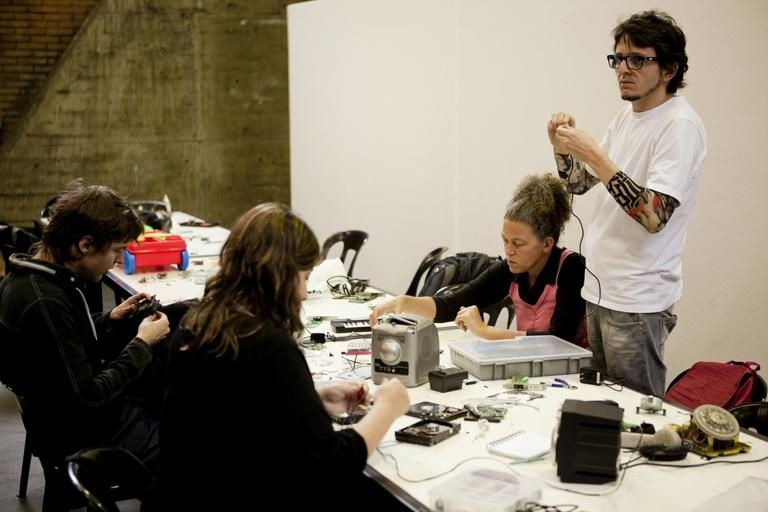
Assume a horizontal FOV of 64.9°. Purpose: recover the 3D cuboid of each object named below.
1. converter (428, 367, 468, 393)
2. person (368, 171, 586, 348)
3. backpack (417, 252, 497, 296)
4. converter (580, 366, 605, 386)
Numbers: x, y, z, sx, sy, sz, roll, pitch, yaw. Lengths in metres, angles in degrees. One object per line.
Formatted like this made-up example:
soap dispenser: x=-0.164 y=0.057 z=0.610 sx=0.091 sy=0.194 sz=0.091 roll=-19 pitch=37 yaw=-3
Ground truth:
converter: x=0.268 y=0.494 z=2.529 sx=0.137 sy=0.074 sz=0.094 roll=-2 pitch=1 yaw=-34
person: x=0.518 y=0.174 z=2.919 sx=1.041 sy=1.025 sz=0.694 roll=-4 pitch=7 yaw=-7
backpack: x=0.479 y=0.129 z=3.867 sx=0.409 sy=0.399 sz=0.285 roll=5 pitch=9 yaw=-19
converter: x=0.883 y=0.492 z=2.566 sx=0.097 sy=0.074 sz=0.066 roll=4 pitch=3 yaw=32
